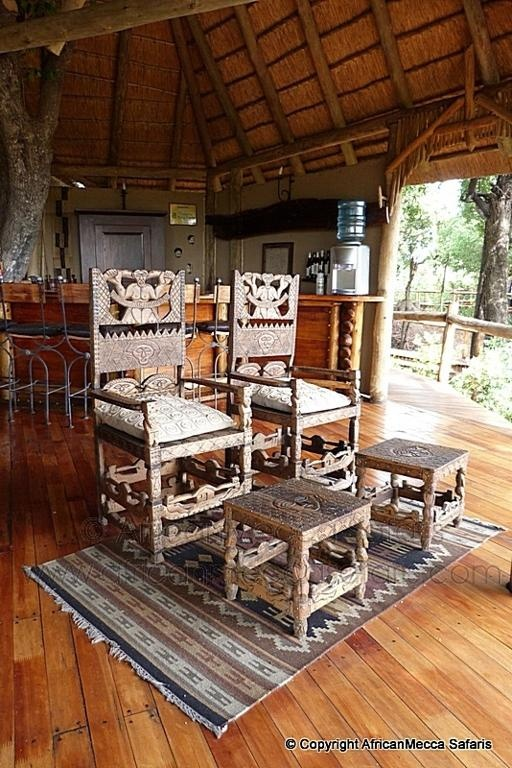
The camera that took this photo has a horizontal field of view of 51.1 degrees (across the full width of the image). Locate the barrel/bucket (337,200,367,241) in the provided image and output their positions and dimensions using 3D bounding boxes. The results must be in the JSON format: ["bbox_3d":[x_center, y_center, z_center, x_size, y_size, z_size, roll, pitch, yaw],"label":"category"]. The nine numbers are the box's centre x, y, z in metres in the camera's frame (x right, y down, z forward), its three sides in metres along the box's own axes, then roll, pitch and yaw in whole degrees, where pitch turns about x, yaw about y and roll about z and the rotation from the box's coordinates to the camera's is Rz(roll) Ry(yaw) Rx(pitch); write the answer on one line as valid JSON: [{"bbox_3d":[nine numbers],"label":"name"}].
[{"bbox_3d":[0.848,-1.503,5.025,0.338,0.507,0.360,-1,9,0],"label":"barrel/bucket"}]
